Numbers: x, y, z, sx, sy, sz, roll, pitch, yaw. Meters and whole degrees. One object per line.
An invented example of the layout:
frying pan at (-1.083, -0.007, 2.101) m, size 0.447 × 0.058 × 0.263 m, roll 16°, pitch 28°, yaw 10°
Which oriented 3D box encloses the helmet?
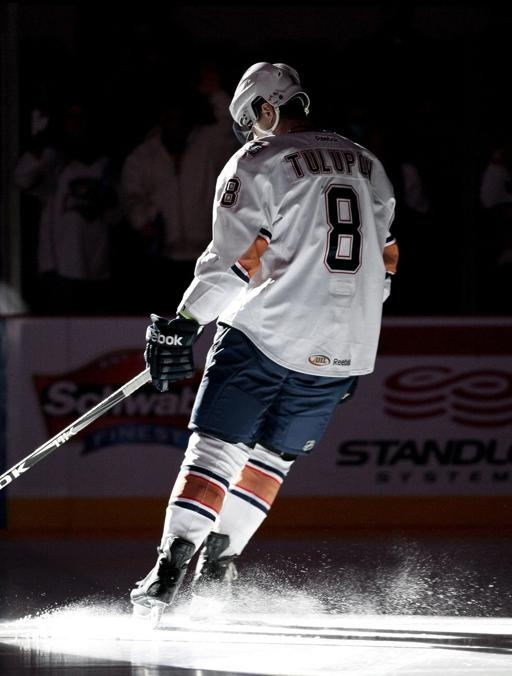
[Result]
helmet at (0.039, -0.846, 2.811) m, size 0.314 × 0.230 × 0.230 m, roll 5°, pitch 11°, yaw 32°

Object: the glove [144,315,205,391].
glove at (-0.260, 0.046, 2.547) m, size 0.206 × 0.215 × 0.192 m, roll 0°, pitch 8°, yaw -32°

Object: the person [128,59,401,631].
person at (0.049, -0.035, 2.593) m, size 0.869 × 1.841 × 0.448 m, roll 1°, pitch -3°, yaw -7°

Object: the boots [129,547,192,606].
boots at (-0.280, 0.704, 2.352) m, size 0.189 × 0.221 × 0.115 m, roll 0°, pitch -3°, yaw 8°
